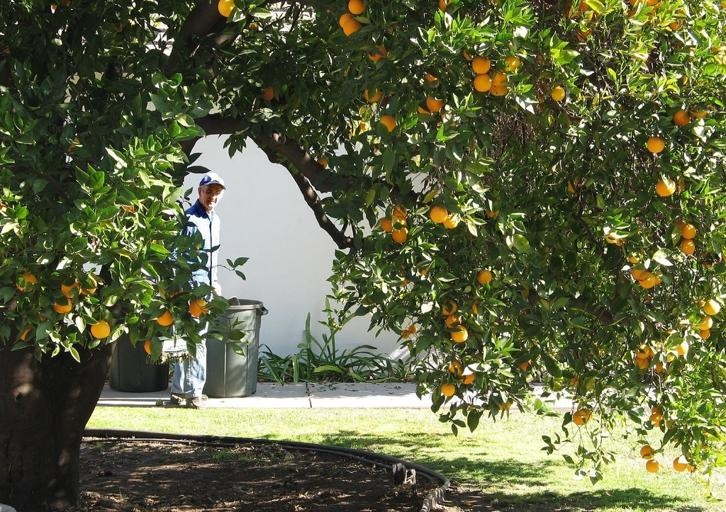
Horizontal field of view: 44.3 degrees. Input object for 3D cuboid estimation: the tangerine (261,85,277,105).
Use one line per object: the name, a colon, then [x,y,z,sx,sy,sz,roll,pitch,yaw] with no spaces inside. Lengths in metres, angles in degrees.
tangerine: [-0.450,-0.775,4.308,0.064,0.050,0.060,-9,29,-18]

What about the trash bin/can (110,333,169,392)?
trash bin/can: [-2.182,1.058,8.612,0.526,0.541,0.494,3,-13,-21]
